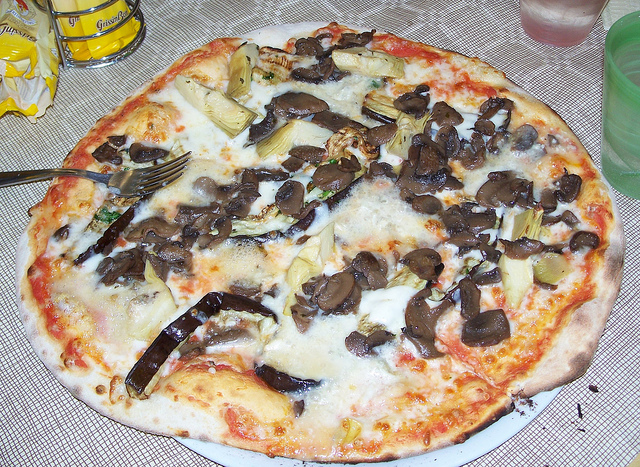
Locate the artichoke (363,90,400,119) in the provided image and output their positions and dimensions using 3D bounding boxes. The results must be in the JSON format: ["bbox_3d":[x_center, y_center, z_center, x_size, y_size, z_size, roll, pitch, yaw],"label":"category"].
[{"bbox_3d":[0.239,-0.507,2.585,0.138,0.031,0.086,30,63,18],"label":"artichoke"}]

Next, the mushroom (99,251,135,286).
[{"bbox_3d":[-0.707,0.143,2.340,0.196,0.047,0.110,-12,90,33],"label":"mushroom"}]

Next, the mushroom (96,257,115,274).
[{"bbox_3d":[-0.768,0.118,2.332,0.043,0.014,0.064,37,86,29],"label":"mushroom"}]

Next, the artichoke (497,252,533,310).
[{"bbox_3d":[0.680,0.167,2.275,0.108,0.038,0.191,-3,79,-2],"label":"artichoke"}]

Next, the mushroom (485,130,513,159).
[{"bbox_3d":[0.677,-0.336,2.487,0.079,0.029,0.109,26,86,8],"label":"mushroom"}]

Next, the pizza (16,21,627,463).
[{"bbox_3d":[0.035,0.042,2.373,2.018,0.262,1.607,12,61,7],"label":"pizza"}]

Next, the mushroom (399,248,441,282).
[{"bbox_3d":[0.362,0.100,2.295,0.144,0.035,0.108,27,34,-16],"label":"mushroom"}]

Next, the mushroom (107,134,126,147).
[{"bbox_3d":[-0.790,-0.357,2.545,0.047,0.013,0.044,-27,76,-18],"label":"mushroom"}]

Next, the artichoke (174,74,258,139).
[{"bbox_3d":[-0.404,-0.475,2.610,0.377,0.094,0.156,30,72,11],"label":"artichoke"}]

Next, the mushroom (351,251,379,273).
[{"bbox_3d":[0.157,0.103,2.306,0.096,0.052,0.072,-5,79,-2],"label":"mushroom"}]

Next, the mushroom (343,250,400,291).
[{"bbox_3d":[0.180,0.133,2.322,0.107,0.033,0.137,23,83,20],"label":"mushroom"}]

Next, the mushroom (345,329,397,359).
[{"bbox_3d":[0.164,0.358,2.277,0.212,0.139,0.048,-7,103,-42],"label":"mushroom"}]

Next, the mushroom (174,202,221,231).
[{"bbox_3d":[-0.475,-0.070,2.433,0.037,0.082,0.136,-46,29,19],"label":"mushroom"}]

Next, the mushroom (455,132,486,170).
[{"bbox_3d":[0.572,-0.301,2.479,0.116,0.037,0.139,18,81,15],"label":"mushroom"}]

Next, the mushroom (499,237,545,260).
[{"bbox_3d":[0.711,0.056,2.287,0.150,0.063,0.077,-4,79,-2],"label":"mushroom"}]

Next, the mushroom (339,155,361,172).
[{"bbox_3d":[0.114,-0.255,2.447,0.058,0.015,0.062,44,55,17],"label":"mushroom"}]

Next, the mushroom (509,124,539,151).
[{"bbox_3d":[0.769,-0.360,2.493,0.080,0.027,0.115,34,86,23],"label":"mushroom"}]

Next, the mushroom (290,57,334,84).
[{"bbox_3d":[-0.040,-0.635,2.637,0.142,0.037,0.099,-29,64,-3],"label":"mushroom"}]

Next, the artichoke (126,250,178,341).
[{"bbox_3d":[-0.578,0.261,2.325,0.148,0.053,0.221,29,83,21],"label":"artichoke"}]

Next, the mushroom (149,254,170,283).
[{"bbox_3d":[-0.575,0.127,2.340,0.059,0.023,0.095,-32,98,-45],"label":"mushroom"}]

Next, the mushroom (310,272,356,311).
[{"bbox_3d":[0.049,0.198,2.314,0.188,0.113,0.133,23,33,37],"label":"mushroom"}]

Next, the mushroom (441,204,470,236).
[{"bbox_3d":[0.469,-0.037,2.325,0.099,0.030,0.091,5,92,22],"label":"mushroom"}]

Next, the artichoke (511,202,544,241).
[{"bbox_3d":[0.736,-0.032,2.334,0.052,0.114,0.130,22,62,-36],"label":"artichoke"}]

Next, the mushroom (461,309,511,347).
[{"bbox_3d":[0.558,0.332,2.240,0.164,0.038,0.115,-14,80,-4],"label":"mushroom"}]

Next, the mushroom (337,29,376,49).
[{"bbox_3d":[0.151,-0.794,2.673,0.112,0.022,0.066,7,62,13],"label":"mushroom"}]

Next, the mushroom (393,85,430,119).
[{"bbox_3d":[0.363,-0.511,2.551,0.145,0.037,0.141,21,58,25],"label":"mushroom"}]
